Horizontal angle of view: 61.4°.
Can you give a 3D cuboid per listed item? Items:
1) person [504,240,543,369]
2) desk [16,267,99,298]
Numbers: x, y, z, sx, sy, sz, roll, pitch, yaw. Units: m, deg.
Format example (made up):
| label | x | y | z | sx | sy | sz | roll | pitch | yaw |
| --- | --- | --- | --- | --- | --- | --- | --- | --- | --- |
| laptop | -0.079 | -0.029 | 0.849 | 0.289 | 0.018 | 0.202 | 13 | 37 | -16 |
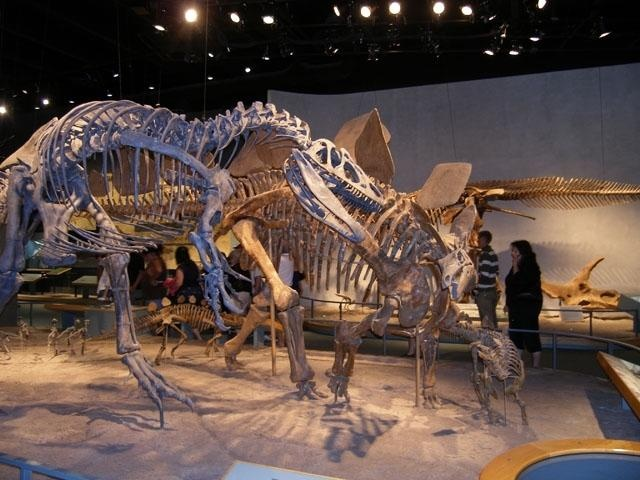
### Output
| label | x | y | z | sx | sy | sz | roll | pitch | yaw |
| --- | --- | --- | --- | --- | --- | --- | --- | --- | --- |
| person | 2.997 | 0.955 | 7.886 | 0.539 | 1.882 | 0.849 | 4 | 8 | 17 |
| desk | -6.493 | 1.051 | 13.520 | 2.401 | 0.657 | 1.103 | 4 | 8 | 20 |
